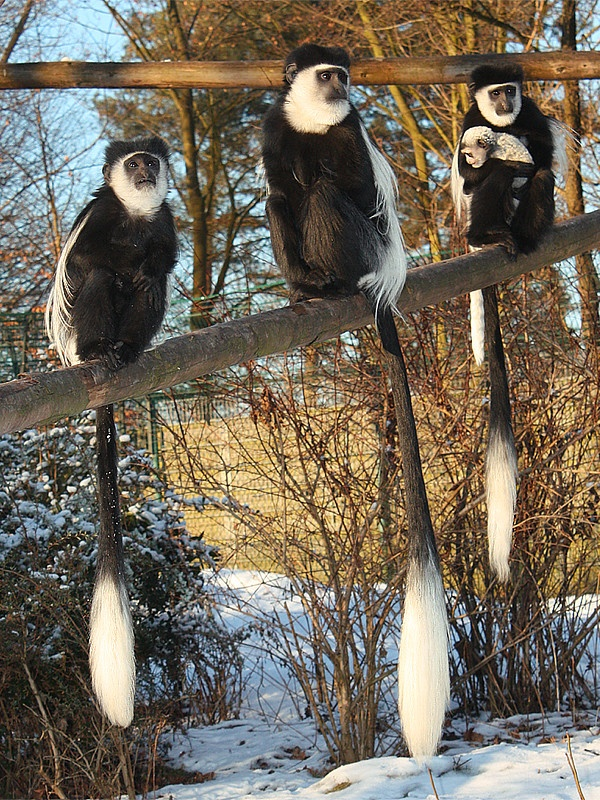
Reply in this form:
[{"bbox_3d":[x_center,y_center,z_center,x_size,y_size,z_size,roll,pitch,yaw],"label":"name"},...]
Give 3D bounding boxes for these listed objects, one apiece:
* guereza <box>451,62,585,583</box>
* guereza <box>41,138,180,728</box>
[{"bbox_3d":[0.992,-0.467,6.463,0.648,2.641,0.919,4,-11,-3],"label":"guereza"},{"bbox_3d":[-0.750,-0.086,5.472,0.599,2.780,0.371,-6,-41,0],"label":"guereza"}]
